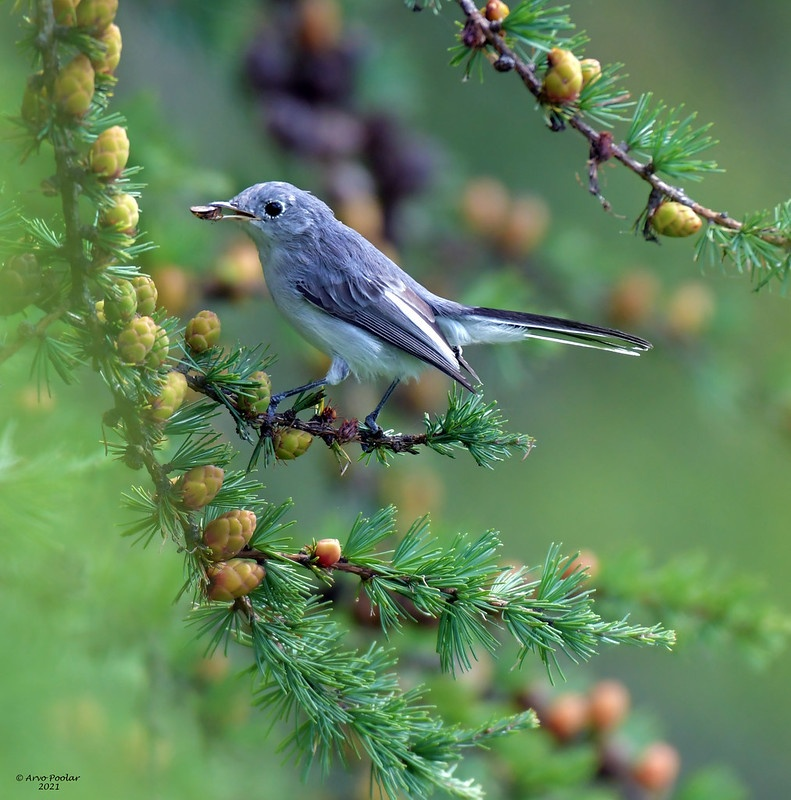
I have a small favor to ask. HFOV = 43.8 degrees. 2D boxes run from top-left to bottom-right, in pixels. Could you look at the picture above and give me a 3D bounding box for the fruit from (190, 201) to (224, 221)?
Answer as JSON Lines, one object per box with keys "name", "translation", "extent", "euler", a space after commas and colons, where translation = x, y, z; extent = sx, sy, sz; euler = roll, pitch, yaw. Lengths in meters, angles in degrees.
{"name": "fruit", "translation": [-0.591, -0.585, 3.093], "extent": [0.108, 0.098, 0.039], "euler": [6, -73, 43]}
